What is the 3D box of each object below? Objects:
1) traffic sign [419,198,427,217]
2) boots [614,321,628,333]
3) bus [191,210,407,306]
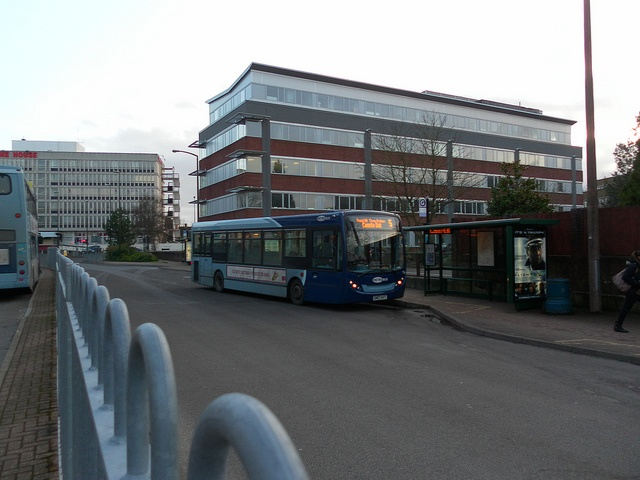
[{"bbox_3d":[4.930,-1.574,25.290,0.304,0.913,1.951,0,1,15],"label":"traffic sign"},{"bbox_3d":[6.689,1.928,11.657,0.278,0.199,0.479,1,1,30],"label":"boots"},{"bbox_3d":[-1.285,0.639,19.953,3.039,3.012,10.054,0,-3,-36],"label":"bus"}]
